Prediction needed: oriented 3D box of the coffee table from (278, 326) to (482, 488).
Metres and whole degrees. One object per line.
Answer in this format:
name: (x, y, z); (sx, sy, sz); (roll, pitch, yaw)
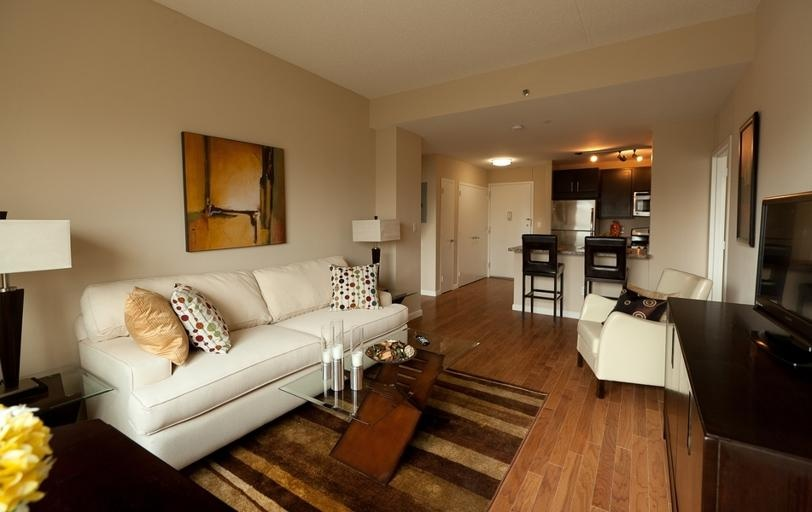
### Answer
coffee table: (-0.174, 1.170, 4.149); (0.836, 0.326, 1.379); (13, 28, 24)

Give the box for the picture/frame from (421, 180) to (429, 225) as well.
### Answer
picture/frame: (0.322, -0.866, 8.147); (0.122, 0.651, 0.047); (1, 8, 21)

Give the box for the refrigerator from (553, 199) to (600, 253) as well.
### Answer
refrigerator: (2.965, -0.248, 9.005); (0.806, 1.368, 0.663); (3, -15, 19)

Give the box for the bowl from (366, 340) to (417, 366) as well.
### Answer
bowl: (-0.130, 0.778, 4.098); (0.247, 0.059, 0.225); (-4, 11, -25)

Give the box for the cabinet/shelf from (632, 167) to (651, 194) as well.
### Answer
cabinet/shelf: (3.943, -1.271, 8.399); (0.112, 0.429, 0.271); (-8, 9, -42)

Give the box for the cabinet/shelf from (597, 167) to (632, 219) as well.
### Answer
cabinet/shelf: (3.666, -1.033, 8.814); (0.588, 0.930, 0.464); (5, -14, 8)

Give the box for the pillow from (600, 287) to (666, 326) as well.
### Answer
pillow: (2.116, 0.398, 4.552); (0.469, 0.138, 0.503); (12, -34, 21)

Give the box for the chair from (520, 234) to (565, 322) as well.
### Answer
chair: (1.833, 0.257, 6.701); (0.531, 1.127, 0.683); (0, 7, 16)

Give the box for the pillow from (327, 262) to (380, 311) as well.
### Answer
pillow: (-0.551, 0.315, 5.313); (0.548, 0.503, 0.168); (-3, -10, -9)

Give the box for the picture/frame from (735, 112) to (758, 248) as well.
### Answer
picture/frame: (3.069, -0.663, 4.510); (0.085, 1.299, 1.209); (0, 6, 26)

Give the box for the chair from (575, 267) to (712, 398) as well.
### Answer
chair: (2.123, 0.673, 4.673); (0.932, 1.079, 0.853); (6, 11, 12)

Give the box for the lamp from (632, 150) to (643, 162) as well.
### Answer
lamp: (3.831, -1.659, 8.295); (0.139, 0.140, 0.042); (-15, -2, -34)

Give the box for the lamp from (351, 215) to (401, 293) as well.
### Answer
lamp: (-0.361, -0.126, 6.075); (0.403, 0.587, 0.430); (0, 1, 32)

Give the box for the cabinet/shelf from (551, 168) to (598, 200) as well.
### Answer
cabinet/shelf: (2.979, -1.266, 8.793); (0.588, 0.432, 0.228); (1, 1, 31)
